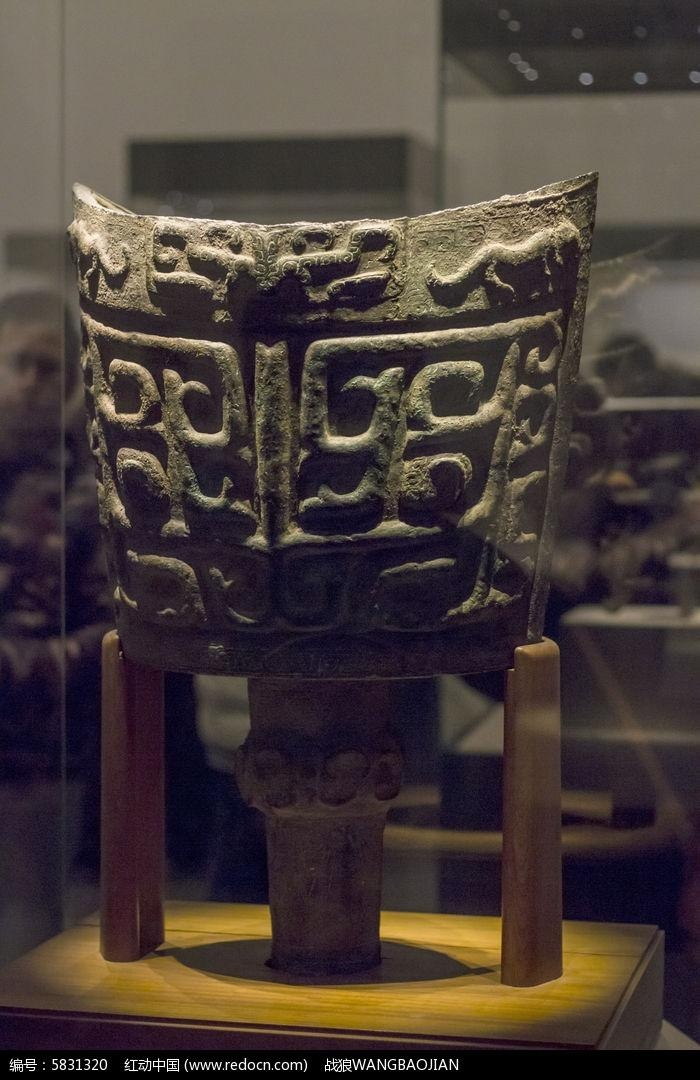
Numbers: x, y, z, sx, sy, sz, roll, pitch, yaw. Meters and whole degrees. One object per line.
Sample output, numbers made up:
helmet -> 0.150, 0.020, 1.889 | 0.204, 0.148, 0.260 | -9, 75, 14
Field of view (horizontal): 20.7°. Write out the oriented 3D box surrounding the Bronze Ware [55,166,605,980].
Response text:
Bronze Ware -> -0.027, 0.055, 2.791 | 0.866, 0.971, 0.835 | 0, -1, 5

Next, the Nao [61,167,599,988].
Nao -> -0.033, 0.086, 2.662 | 0.684, 0.966, 0.663 | 0, -1, -10
